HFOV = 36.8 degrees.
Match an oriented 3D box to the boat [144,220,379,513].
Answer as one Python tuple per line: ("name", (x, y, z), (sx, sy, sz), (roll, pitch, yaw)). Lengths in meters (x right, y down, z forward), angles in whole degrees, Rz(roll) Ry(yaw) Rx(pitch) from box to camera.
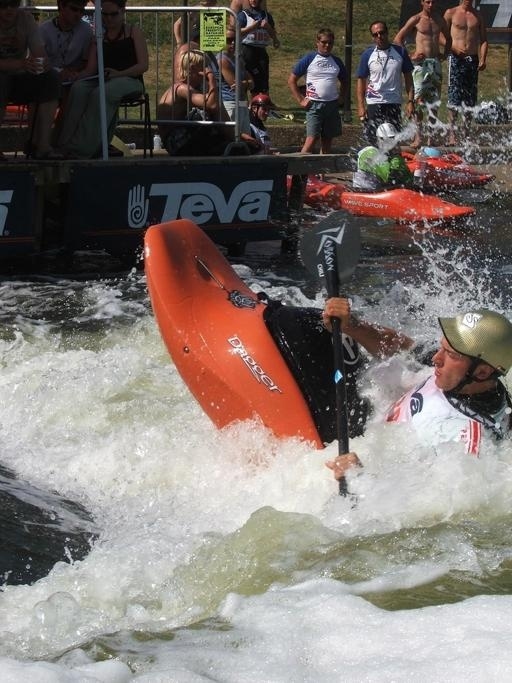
("boat", (0.115, -0.019, 3.185), (0.765, 1.028, 1.296), (-10, 5, -28))

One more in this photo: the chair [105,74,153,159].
("chair", (-1.081, -1.738, 6.357), (0.462, 0.593, 0.438), (-5, 11, -24))

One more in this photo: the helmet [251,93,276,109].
("helmet", (0.079, -2.650, 8.498), (0.285, 0.125, 0.177), (12, 24, -8))

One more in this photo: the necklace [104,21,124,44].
("necklace", (-1.107, -2.394, 5.989), (0.147, 0.158, 0.063), (0, 2, -5))

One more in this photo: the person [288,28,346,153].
("person", (0.740, -2.879, 8.940), (0.671, 1.574, 1.059), (-7, 5, 8))

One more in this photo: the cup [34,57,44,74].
("cup", (-1.482, -1.887, 5.277), (0.071, 0.103, 0.034), (0, -5, 9))

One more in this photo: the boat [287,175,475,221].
("boat", (1.368, -1.504, 8.138), (1.800, 0.642, 0.342), (-3, 7, 36))
